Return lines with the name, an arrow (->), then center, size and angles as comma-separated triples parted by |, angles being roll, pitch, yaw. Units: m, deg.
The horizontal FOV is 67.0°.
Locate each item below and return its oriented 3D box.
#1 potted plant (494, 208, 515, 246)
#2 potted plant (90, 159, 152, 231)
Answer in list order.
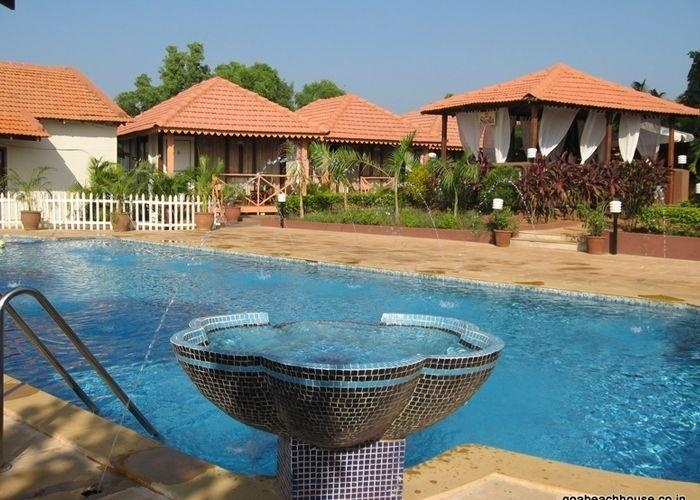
potted plant -> 4.524, -0.660, 15.569 | 0.626, 1.048, 0.461 | 3, 10, 16
potted plant -> -8.176, -2.364, 19.554 | 2.569, 3.383, 3.046 | -4, 6, -28
